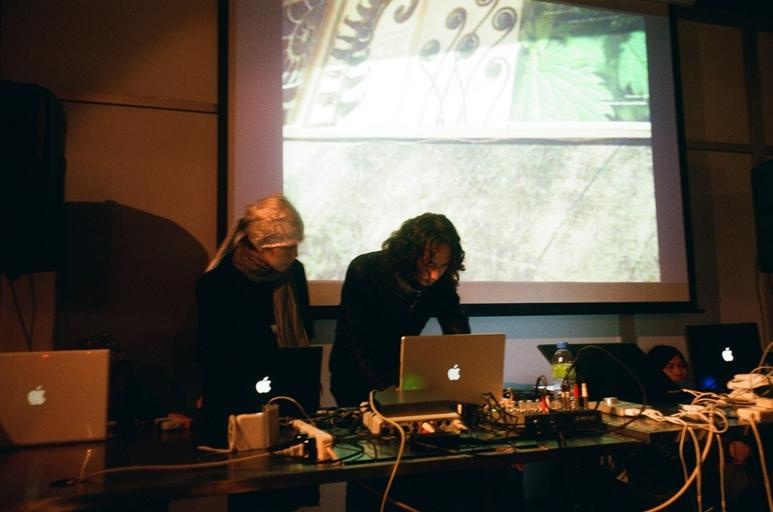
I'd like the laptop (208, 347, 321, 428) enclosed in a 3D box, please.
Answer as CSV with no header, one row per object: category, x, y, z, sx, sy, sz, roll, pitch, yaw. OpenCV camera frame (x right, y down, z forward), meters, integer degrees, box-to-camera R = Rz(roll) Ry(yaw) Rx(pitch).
laptop,-0.632,0.646,3.589,0.458,0.420,0.297,4,-3,-25

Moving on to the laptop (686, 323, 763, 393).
laptop,2.217,0.668,4.579,0.472,0.422,0.046,1,-19,2
